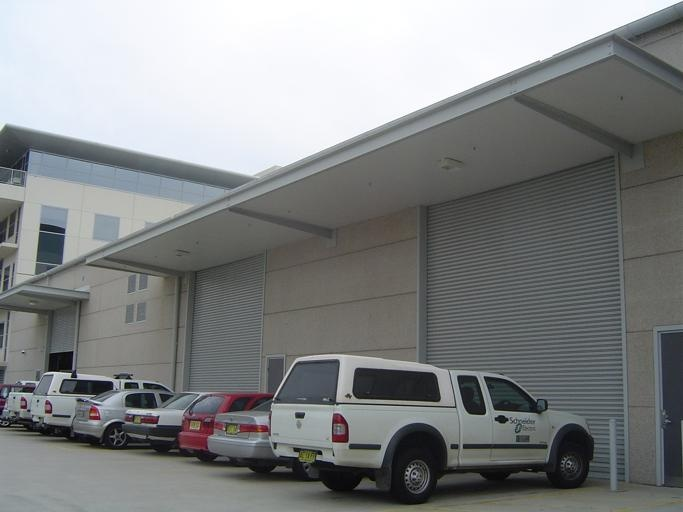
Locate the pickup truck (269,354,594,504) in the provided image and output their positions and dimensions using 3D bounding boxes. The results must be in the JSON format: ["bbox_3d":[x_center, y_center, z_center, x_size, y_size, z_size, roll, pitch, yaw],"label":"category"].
[{"bbox_3d":[1.719,2.958,9.086,5.578,2.108,1.974,11,-19,-30],"label":"pickup truck"}]
